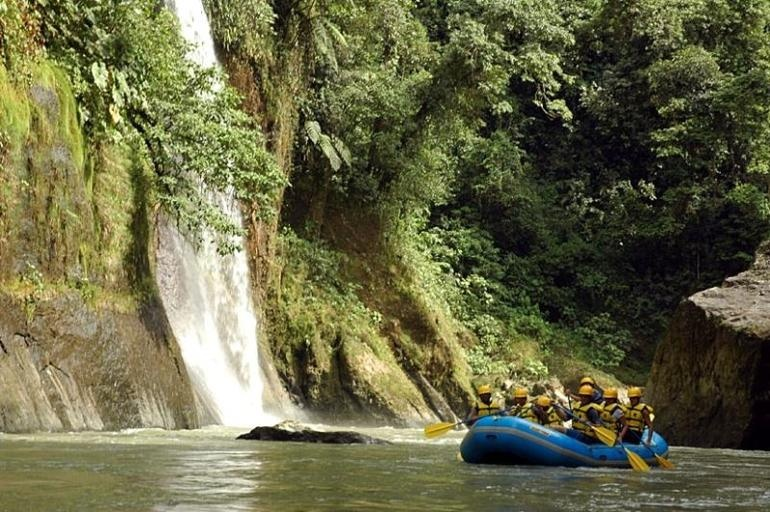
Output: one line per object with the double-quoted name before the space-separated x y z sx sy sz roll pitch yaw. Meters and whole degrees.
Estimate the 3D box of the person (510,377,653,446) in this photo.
"person" 4.798 3.553 20.621 2.053 1.147 1.324 11 -8 -29

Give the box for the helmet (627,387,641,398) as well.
"helmet" 5.653 3.100 21.025 0.332 0.285 0.515 -4 -5 21

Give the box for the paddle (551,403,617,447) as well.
"paddle" 4.463 3.723 20.308 0.856 0.564 1.133 10 7 -25

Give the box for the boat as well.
"boat" 3.735 4.174 19.933 2.889 0.713 1.719 12 -10 -26

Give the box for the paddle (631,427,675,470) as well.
"paddle" 6.053 4.433 20.615 0.312 0.907 0.663 -46 7 24
